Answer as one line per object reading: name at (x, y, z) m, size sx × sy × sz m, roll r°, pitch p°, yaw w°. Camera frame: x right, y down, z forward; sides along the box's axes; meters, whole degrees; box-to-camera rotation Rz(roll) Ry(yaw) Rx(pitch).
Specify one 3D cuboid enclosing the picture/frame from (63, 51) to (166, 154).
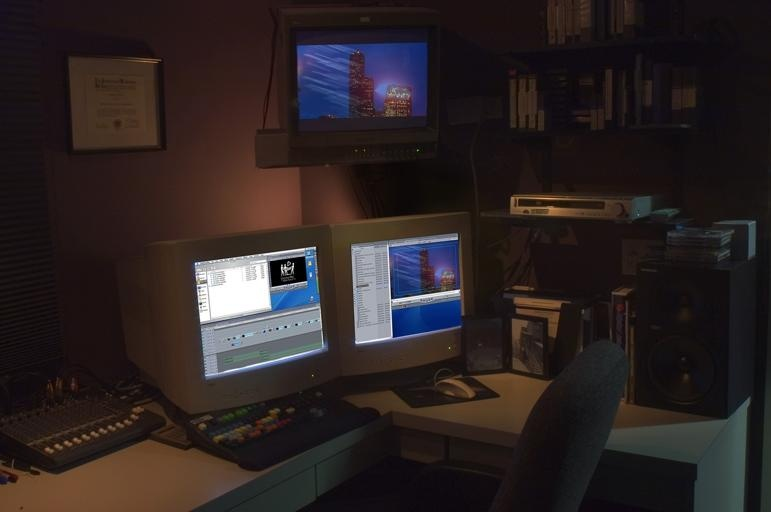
picture/frame at (-1.084, -0.609, 2.367) m, size 0.439 × 0.409 × 0.056 m, roll -6°, pitch 7°, yaw -42°

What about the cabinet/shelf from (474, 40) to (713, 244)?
cabinet/shelf at (0.919, -0.558, 2.598) m, size 0.745 × 0.618 × 0.247 m, roll 3°, pitch 28°, yaw 23°

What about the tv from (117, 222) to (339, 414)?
tv at (-0.687, 0.234, 2.513) m, size 0.912 × 0.615 × 0.887 m, roll -4°, pitch 1°, yaw -22°

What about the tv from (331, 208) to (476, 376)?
tv at (0.053, 0.125, 2.650) m, size 0.617 × 0.567 × 0.328 m, roll -5°, pitch 7°, yaw -18°

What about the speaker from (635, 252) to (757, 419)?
speaker at (1.158, 0.304, 2.372) m, size 0.421 × 0.485 × 0.416 m, roll 1°, pitch 2°, yaw 44°
